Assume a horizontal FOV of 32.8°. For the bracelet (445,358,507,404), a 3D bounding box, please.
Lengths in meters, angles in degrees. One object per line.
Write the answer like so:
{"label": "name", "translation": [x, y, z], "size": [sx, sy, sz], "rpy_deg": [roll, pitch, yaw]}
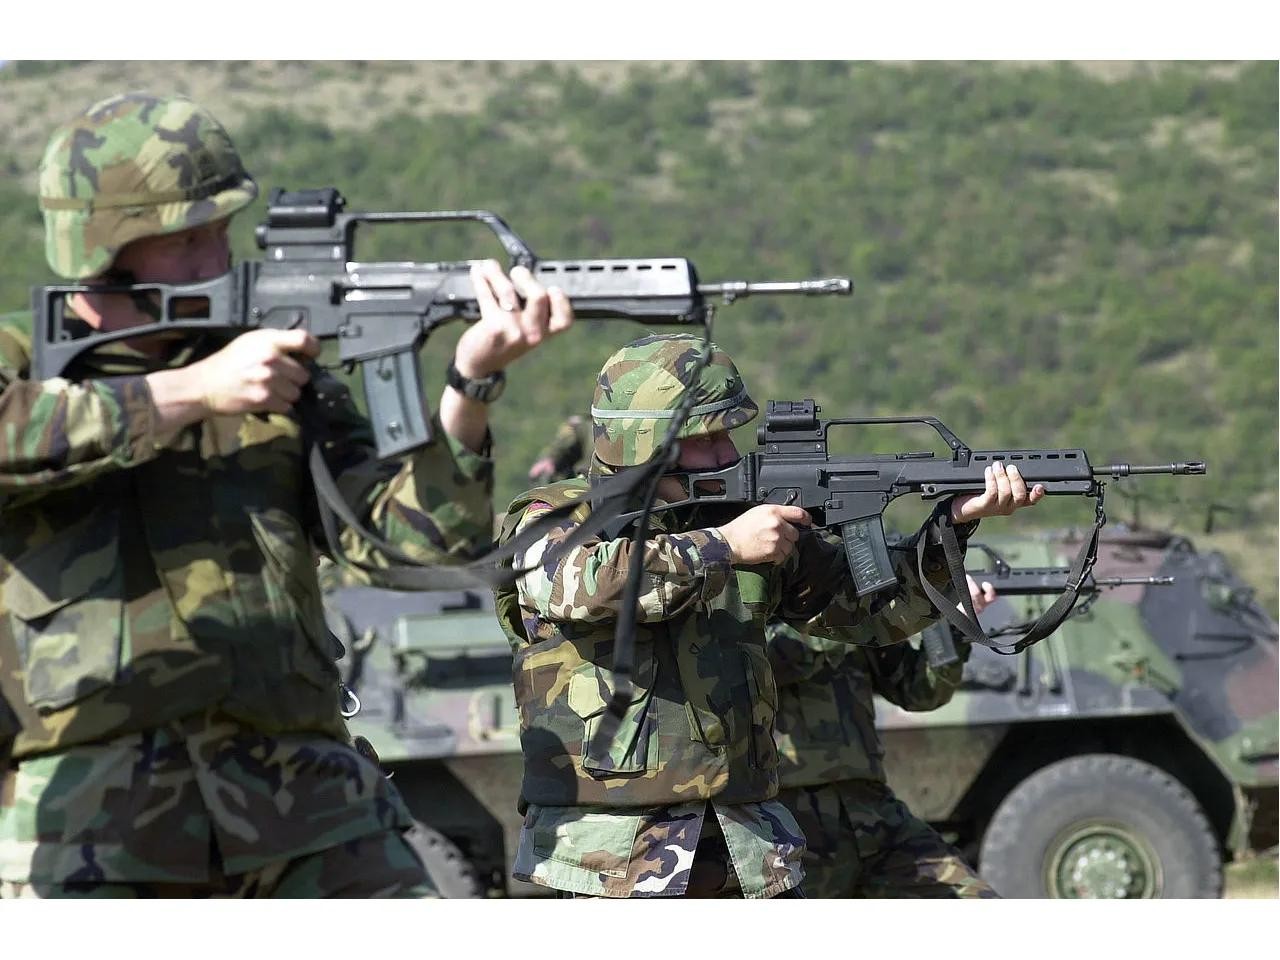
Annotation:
{"label": "bracelet", "translation": [-0.684, -0.394, 9.103], "size": [0.232, 0.153, 0.236], "rpy_deg": [1, -3, 3]}

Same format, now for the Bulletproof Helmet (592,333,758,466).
{"label": "Bulletproof Helmet", "translation": [0.195, -0.409, 10.683], "size": [0.751, 0.469, 0.600], "rpy_deg": [1, 13, 19]}
